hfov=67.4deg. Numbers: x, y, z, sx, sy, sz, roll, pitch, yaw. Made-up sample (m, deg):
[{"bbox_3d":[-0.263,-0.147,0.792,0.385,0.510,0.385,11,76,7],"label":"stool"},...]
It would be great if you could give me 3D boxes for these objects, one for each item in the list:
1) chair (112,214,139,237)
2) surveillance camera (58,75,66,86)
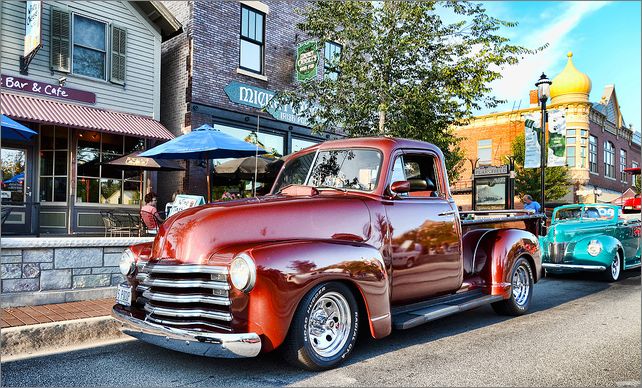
[{"bbox_3d":[-6.406,1.061,15.764,0.727,1.013,0.670,-5,-7,31],"label":"chair"},{"bbox_3d":[-8.795,-3.849,16.317,0.247,0.347,0.304,-1,-2,-27],"label":"surveillance camera"}]
